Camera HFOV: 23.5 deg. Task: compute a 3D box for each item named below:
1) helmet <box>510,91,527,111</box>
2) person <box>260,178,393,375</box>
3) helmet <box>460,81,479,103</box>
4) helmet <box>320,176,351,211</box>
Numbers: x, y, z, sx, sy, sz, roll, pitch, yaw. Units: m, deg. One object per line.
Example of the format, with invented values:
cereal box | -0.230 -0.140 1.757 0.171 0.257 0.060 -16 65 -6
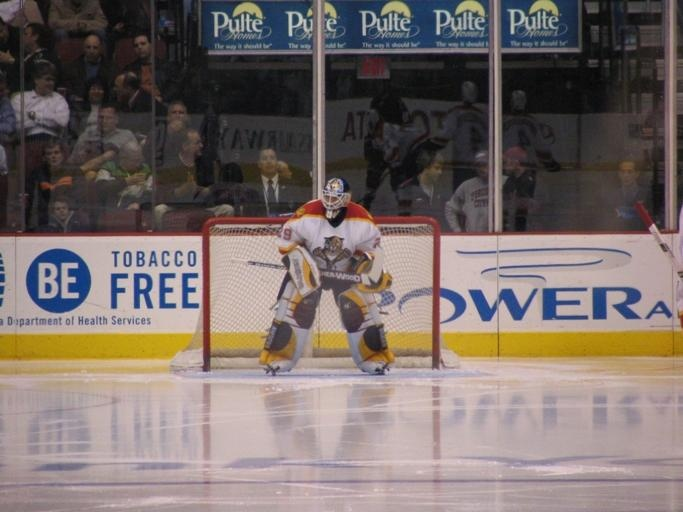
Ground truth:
helmet | 2.033 -1.758 18.842 0.182 0.219 0.228 3 17 3
person | -0.168 0.159 18.038 1.332 2.102 1.115 1 3 -13
helmet | 1.476 -1.854 18.845 0.194 0.221 0.229 2 24 3
helmet | -0.029 -0.668 17.607 0.277 0.268 0.346 5 10 11
